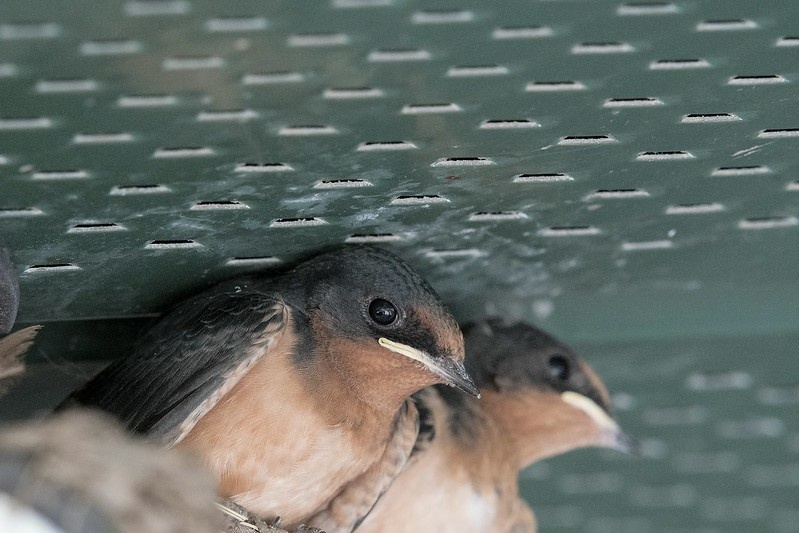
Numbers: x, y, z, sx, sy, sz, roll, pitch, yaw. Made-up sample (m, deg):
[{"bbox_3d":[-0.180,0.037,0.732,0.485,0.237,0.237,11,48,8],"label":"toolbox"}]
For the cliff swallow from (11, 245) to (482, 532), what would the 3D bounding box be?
[{"bbox_3d":[-0.115,0.138,1.145,0.407,0.183,0.409,35,80,4],"label":"cliff swallow"}]
